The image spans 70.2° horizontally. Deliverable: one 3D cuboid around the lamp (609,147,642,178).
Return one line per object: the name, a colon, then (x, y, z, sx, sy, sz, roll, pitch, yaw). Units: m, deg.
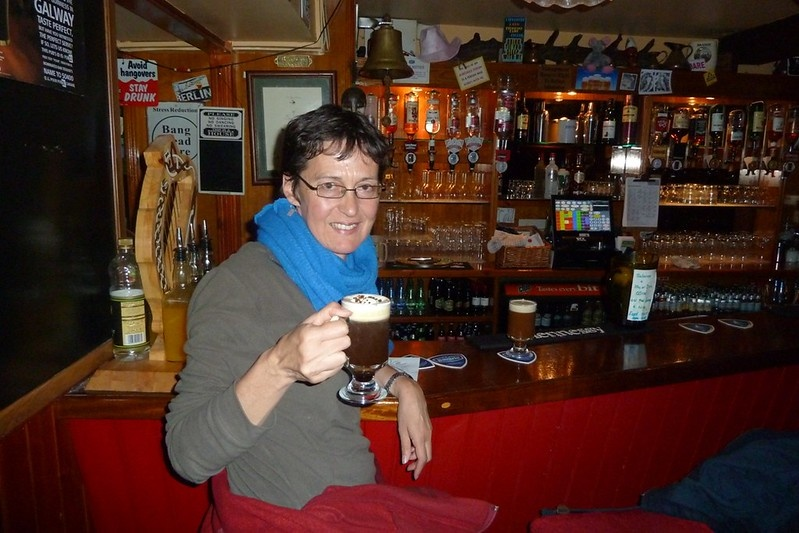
lamp: (1.833, -0.854, 4.744, 0.239, 0.299, 0.304, 2, -4, -11)

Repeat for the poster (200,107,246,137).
poster: (-1.220, -0.976, 3.941, 0.379, 0.248, 0.205, 1, 7, -4)

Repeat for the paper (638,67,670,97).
paper: (1.958, -1.436, 4.405, 0.271, 0.186, 0.013, 0, 17, 1)

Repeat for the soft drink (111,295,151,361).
soft drink: (-1.085, 0.227, 2.294, 0.152, 0.256, 0.161, -3, 15, -34)

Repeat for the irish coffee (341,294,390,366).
irish coffee: (-0.112, 0.213, 1.907, 0.127, 0.234, 0.160, -3, 11, -20)

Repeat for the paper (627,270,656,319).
paper: (1.114, 0.133, 2.619, 0.158, 0.252, 0.085, -1, 7, -32)

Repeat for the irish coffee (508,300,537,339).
irish coffee: (0.526, 0.234, 2.467, 0.113, 0.185, 0.153, 4, 5, 12)
